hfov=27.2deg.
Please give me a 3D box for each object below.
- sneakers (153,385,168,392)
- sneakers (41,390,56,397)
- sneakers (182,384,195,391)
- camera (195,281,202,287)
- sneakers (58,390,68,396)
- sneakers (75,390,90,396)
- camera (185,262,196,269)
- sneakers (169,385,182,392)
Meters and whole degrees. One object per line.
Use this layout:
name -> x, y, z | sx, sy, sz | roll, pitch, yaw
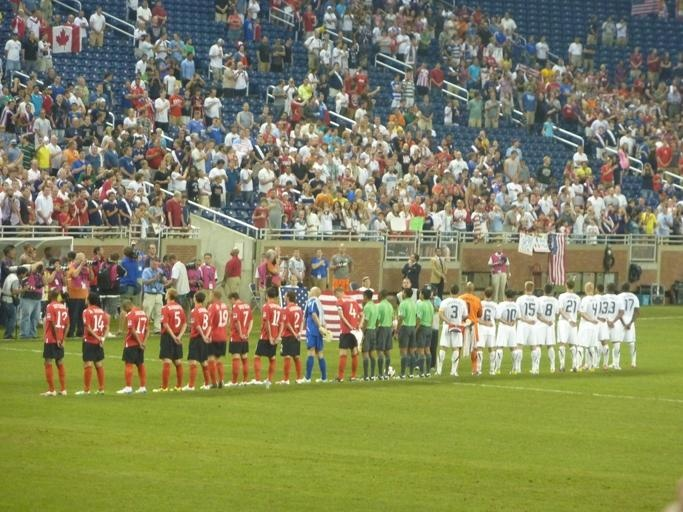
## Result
sneakers -> -5.065, 3.701, 39.280 | 0.438, 0.212, 0.165 | 5, 22, 12
sneakers -> -7.876, 3.680, 37.980 | 0.414, 0.217, 0.162 | 4, -2, 38
sneakers -> -4.281, 3.689, 39.532 | 0.352, 0.186, 0.145 | 5, 8, 6
camera -> -4.762, 0.930, 47.332 | 0.111, 0.221, 0.350 | 0, 0, 23
sneakers -> -7.511, 3.680, 38.175 | 0.089, 0.137, 0.167 | 0, 4, -43
sneakers -> -7.043, 3.717, 38.427 | 0.304, 0.152, 0.174 | 5, -1, 2
camera -> -5.047, 0.314, 47.505 | 0.248, 0.164, 0.383 | 0, 0, -1
sneakers -> -4.631, 3.693, 39.415 | 0.257, 0.137, 0.137 | 3, 5, 21
